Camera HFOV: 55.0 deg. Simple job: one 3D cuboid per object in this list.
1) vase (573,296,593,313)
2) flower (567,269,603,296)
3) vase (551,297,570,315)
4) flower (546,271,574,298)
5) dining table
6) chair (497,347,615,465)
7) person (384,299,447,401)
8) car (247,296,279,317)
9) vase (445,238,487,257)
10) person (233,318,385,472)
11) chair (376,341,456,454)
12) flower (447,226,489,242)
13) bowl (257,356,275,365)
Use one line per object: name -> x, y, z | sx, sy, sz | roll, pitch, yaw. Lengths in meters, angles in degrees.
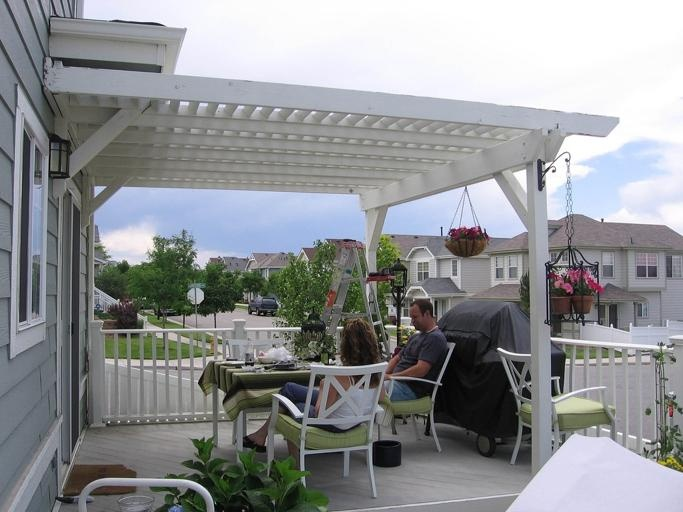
vase -> 2.113, 0.413, 5.766 | 0.143, 0.129, 0.156 | -1, -2, -4
flower -> 2.132, 0.231, 5.718 | 0.216, 0.248, 0.238 | 9, -4, -31
vase -> 1.913, 0.422, 5.731 | 0.137, 0.123, 0.146 | -2, -1, -23
flower -> 1.906, 0.246, 5.719 | 0.174, 0.186, 0.198 | 6, -3, 1
dining table -> -0.743, 1.313, 6.409 | 1.094, 0.569, 1.086 | 2, 2, -36
chair -> 2.033, 1.398, 6.194 | 0.941, 1.204, 0.925 | -7, 2, -41
person -> 0.843, 0.981, 6.953 | 0.767, 1.200, 0.835 | 2, -5, -2
car -> -5.091, 3.285, 43.118 | 1.161, 1.232, 4.358 | 1, -2, -17
vase -> 1.308, -0.093, 6.992 | 0.243, 0.120, 0.266 | 0, -10, -3
person -> -0.265, 1.198, 5.881 | 1.210, 1.522, 0.602 | 13, 3, 37
chair -> 0.743, 1.295, 6.714 | 0.720, 1.117, 0.720 | -1, 10, -12
flower -> 1.336, -0.245, 6.965 | 0.420, 0.145, 0.198 | 0, -2, 12
bowl -> -0.740, 1.002, 6.434 | 0.135, 0.076, 0.084 | 4, -2, 33
